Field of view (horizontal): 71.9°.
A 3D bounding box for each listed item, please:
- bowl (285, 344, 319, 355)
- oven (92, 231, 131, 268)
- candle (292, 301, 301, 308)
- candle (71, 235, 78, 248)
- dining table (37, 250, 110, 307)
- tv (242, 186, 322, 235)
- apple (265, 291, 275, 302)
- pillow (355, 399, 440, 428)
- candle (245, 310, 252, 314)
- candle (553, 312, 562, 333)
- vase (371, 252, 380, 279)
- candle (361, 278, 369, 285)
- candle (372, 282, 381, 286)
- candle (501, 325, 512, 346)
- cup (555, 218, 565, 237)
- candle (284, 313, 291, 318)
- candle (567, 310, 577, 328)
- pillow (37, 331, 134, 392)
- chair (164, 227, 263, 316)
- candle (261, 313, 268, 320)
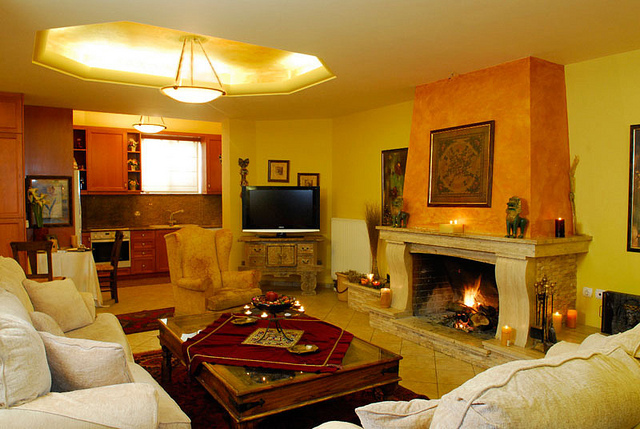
[{"bbox_3d":[-0.158,1.139,3.706,0.268,0.033,0.190,-1,1,-5],"label":"bowl"},{"bbox_3d":[-4.112,0.663,8.578,0.740,0.645,0.532,-2,2,-23],"label":"oven"},{"bbox_3d":[-0.239,0.867,4.176,0.066,0.042,0.064,3,8,19],"label":"candle"},{"bbox_3d":[-3.704,0.411,6.626,0.084,0.169,0.239,-2,2,-30],"label":"candle"},{"bbox_3d":[-3.538,0.973,6.504,0.904,0.765,0.873,-1,0,6],"label":"dining table"},{"bbox_3d":[-0.699,-0.063,7.686,1.321,0.836,0.071,-1,2,-2],"label":"tv"},{"bbox_3d":[-0.465,0.764,4.105,0.081,0.090,0.078,-5,5,-27],"label":"apple"},{"bbox_3d":[0.372,0.980,2.161,0.383,0.126,0.146,0,2,11],"label":"pillow"},{"bbox_3d":[-0.712,0.957,4.302,0.035,0.008,0.034,1,6,13],"label":"candle"},{"bbox_3d":[2.473,1.136,4.609,0.155,0.206,0.067,-1,2,-24],"label":"candle"},{"bbox_3d":[0.832,0.797,6.725,0.100,0.352,0.254,0,2,3],"label":"vase"},{"bbox_3d":[0.668,1.019,6.634,0.176,0.079,0.096,1,2,43],"label":"candle"},{"bbox_3d":[0.806,1.017,6.445,0.120,0.054,0.055,0,2,13],"label":"candle"},{"bbox_3d":[1.931,1.266,4.594,0.081,0.184,0.162,1,3,42],"label":"candle"},{"bbox_3d":[2.557,0.139,4.737,0.091,0.192,0.218,1,2,28],"label":"cup"},{"bbox_3d":[-0.308,0.963,4.154,0.054,0.018,0.054,2,4,30],"label":"candle"},{"bbox_3d":[2.717,1.125,4.766,0.165,0.192,0.062,-2,2,-37],"label":"candle"},{"bbox_3d":[-1.507,0.950,2.800,0.592,0.369,0.199,3,-3,0],"label":"pillow"},{"bbox_3d":[-1.376,0.769,5.713,0.978,1.165,1.080,-1,4,-44],"label":"chair"},{"bbox_3d":[-0.528,0.950,4.095,0.058,0.032,0.058,-2,-1,38],"label":"candle"}]
